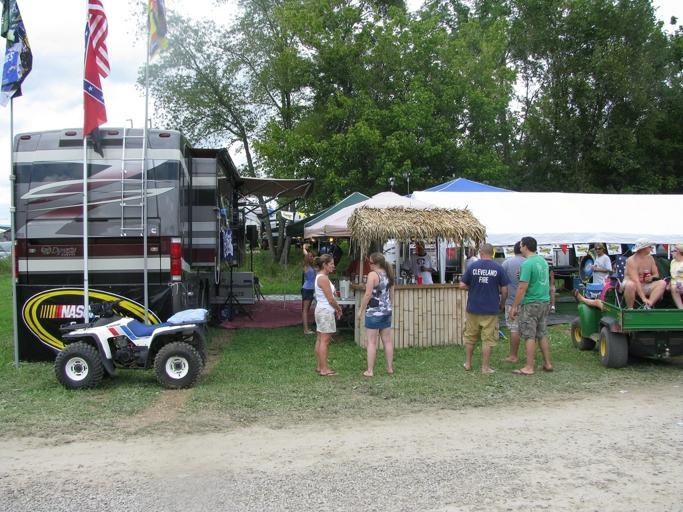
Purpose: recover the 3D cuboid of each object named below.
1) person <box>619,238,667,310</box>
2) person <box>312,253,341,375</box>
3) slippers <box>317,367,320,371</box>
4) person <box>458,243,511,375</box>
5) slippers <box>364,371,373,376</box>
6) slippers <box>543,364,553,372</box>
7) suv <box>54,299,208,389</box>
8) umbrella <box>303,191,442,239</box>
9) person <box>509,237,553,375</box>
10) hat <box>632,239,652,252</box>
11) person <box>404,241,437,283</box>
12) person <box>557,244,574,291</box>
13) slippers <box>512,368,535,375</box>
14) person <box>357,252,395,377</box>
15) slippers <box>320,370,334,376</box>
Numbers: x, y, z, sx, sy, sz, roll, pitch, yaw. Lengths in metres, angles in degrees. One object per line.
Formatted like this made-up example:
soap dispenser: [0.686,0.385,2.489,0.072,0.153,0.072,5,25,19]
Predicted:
person: [5.366,0.344,12.290,0.860,1.198,0.780,-2,5,-28]
person: [-0.229,0.981,11.445,0.409,1.954,0.642,0,8,-3]
slippers: [-0.388,1.899,11.445,0.056,0.055,0.057,0,-7,-5]
person: [2.372,0.895,11.490,0.784,2.117,0.680,2,8,12]
slippers: [0.447,1.927,11.279,0.165,0.070,0.224,0,7,1]
slippers: [3.482,1.890,11.498,0.074,0.067,0.165,-2,-7,-12]
suv: [-3.213,1.438,11.021,2.053,1.300,1.263,2,-5,-4]
umbrella: [0.788,-0.951,16.008,2.637,0.841,2.510,-1,-3,-6]
person: [3.213,0.835,11.691,0.736,2.228,0.709,1,-2,-43]
hat: [5.396,-0.153,12.282,0.269,0.230,0.298,3,8,23]
person: [1.805,0.284,15.532,0.721,1.202,0.390,1,23,9]
person: [7.728,0.428,23.957,0.847,1.532,1.410,2,-4,14]
slippers: [3.030,1.904,11.358,0.342,0.079,0.337,2,7,17]
person: [0.613,0.968,11.352,0.543,1.972,0.713,4,9,28]
slippers: [-0.231,1.945,11.318,0.156,0.065,0.093,-9,-8,24]
